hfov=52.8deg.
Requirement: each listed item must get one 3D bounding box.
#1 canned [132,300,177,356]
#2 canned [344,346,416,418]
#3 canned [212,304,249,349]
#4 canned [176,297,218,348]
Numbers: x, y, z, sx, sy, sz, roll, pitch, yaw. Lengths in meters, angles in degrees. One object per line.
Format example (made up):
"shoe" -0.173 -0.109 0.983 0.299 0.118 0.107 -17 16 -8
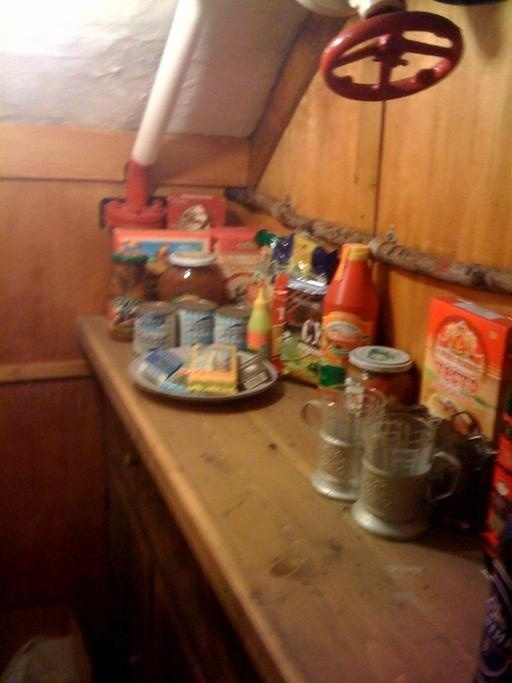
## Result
"canned" -0.186 -0.023 0.999 0.088 0.095 0.088 -8 24 -35
"canned" 0.149 0.042 0.643 0.081 0.078 0.081 -1 13 0
"canned" -0.042 -0.020 0.995 0.070 0.077 0.070 9 31 5
"canned" -0.109 -0.032 1.012 0.083 0.090 0.083 5 28 2
